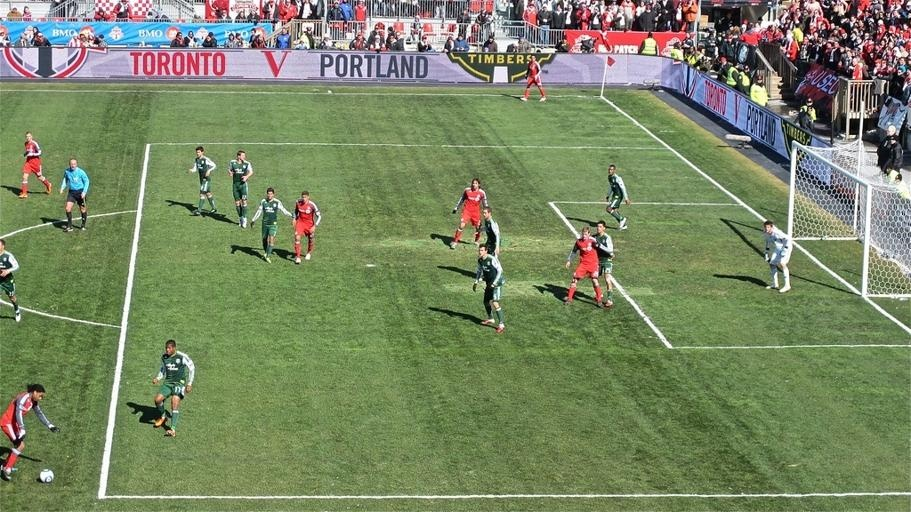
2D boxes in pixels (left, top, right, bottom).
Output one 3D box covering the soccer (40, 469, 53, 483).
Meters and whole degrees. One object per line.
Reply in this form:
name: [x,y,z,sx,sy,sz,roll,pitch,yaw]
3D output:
soccer: [-13.633,7.327,36.648,0.460,0.371,0.413,2,6,-2]
